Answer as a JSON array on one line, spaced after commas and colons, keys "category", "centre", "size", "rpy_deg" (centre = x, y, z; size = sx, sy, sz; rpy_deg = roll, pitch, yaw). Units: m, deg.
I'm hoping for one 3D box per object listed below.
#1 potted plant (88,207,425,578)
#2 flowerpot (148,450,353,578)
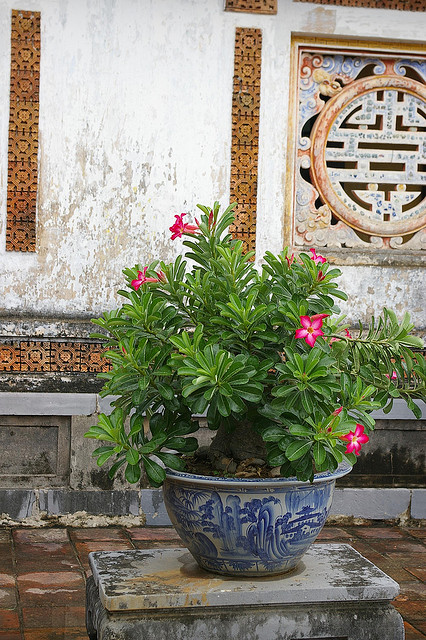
[{"category": "potted plant", "centre": [0.138, 0.228, 3.555], "size": [1.172, 1.133, 1.115], "rpy_deg": [0, -6, -6]}, {"category": "flowerpot", "centre": [0.115, 0.628, 3.259], "size": [0.585, 0.329, 0.573], "rpy_deg": [0, -4, 4]}]
